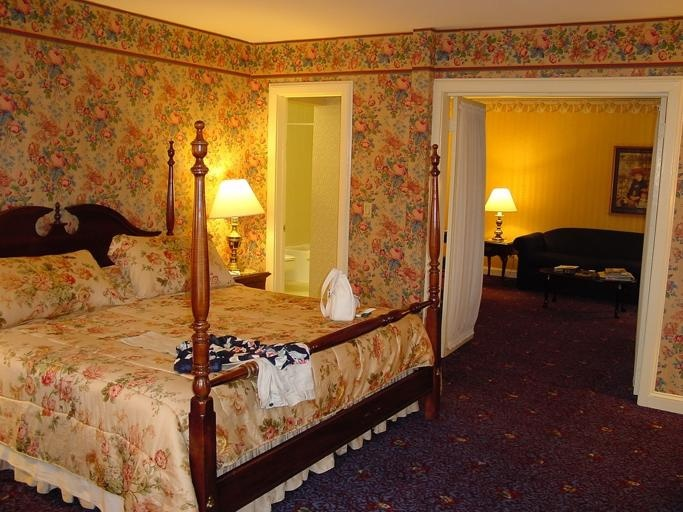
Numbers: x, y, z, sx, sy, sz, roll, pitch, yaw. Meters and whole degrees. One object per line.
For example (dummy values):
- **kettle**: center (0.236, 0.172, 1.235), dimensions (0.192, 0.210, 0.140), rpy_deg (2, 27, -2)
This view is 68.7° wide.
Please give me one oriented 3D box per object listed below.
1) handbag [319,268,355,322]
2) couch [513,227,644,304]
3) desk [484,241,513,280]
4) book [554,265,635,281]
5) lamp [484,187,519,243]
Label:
- **handbag**: center (-0.029, 0.262, 3.772), dimensions (0.254, 0.389, 0.437), rpy_deg (-2, 15, -6)
- **couch**: center (4.035, 0.130, 8.016), dimensions (2.251, 1.033, 0.789), rpy_deg (8, 14, 38)
- **desk**: center (2.724, 0.053, 8.835), dimensions (0.523, 0.567, 0.469), rpy_deg (3, 7, 32)
- **book**: center (3.593, 0.214, 7.139), dimensions (1.039, 0.109, 0.538), rpy_deg (7, 11, 26)
- **lamp**: center (2.813, -0.747, 8.831), dimensions (0.519, 0.924, 0.702), rpy_deg (6, 11, 19)
